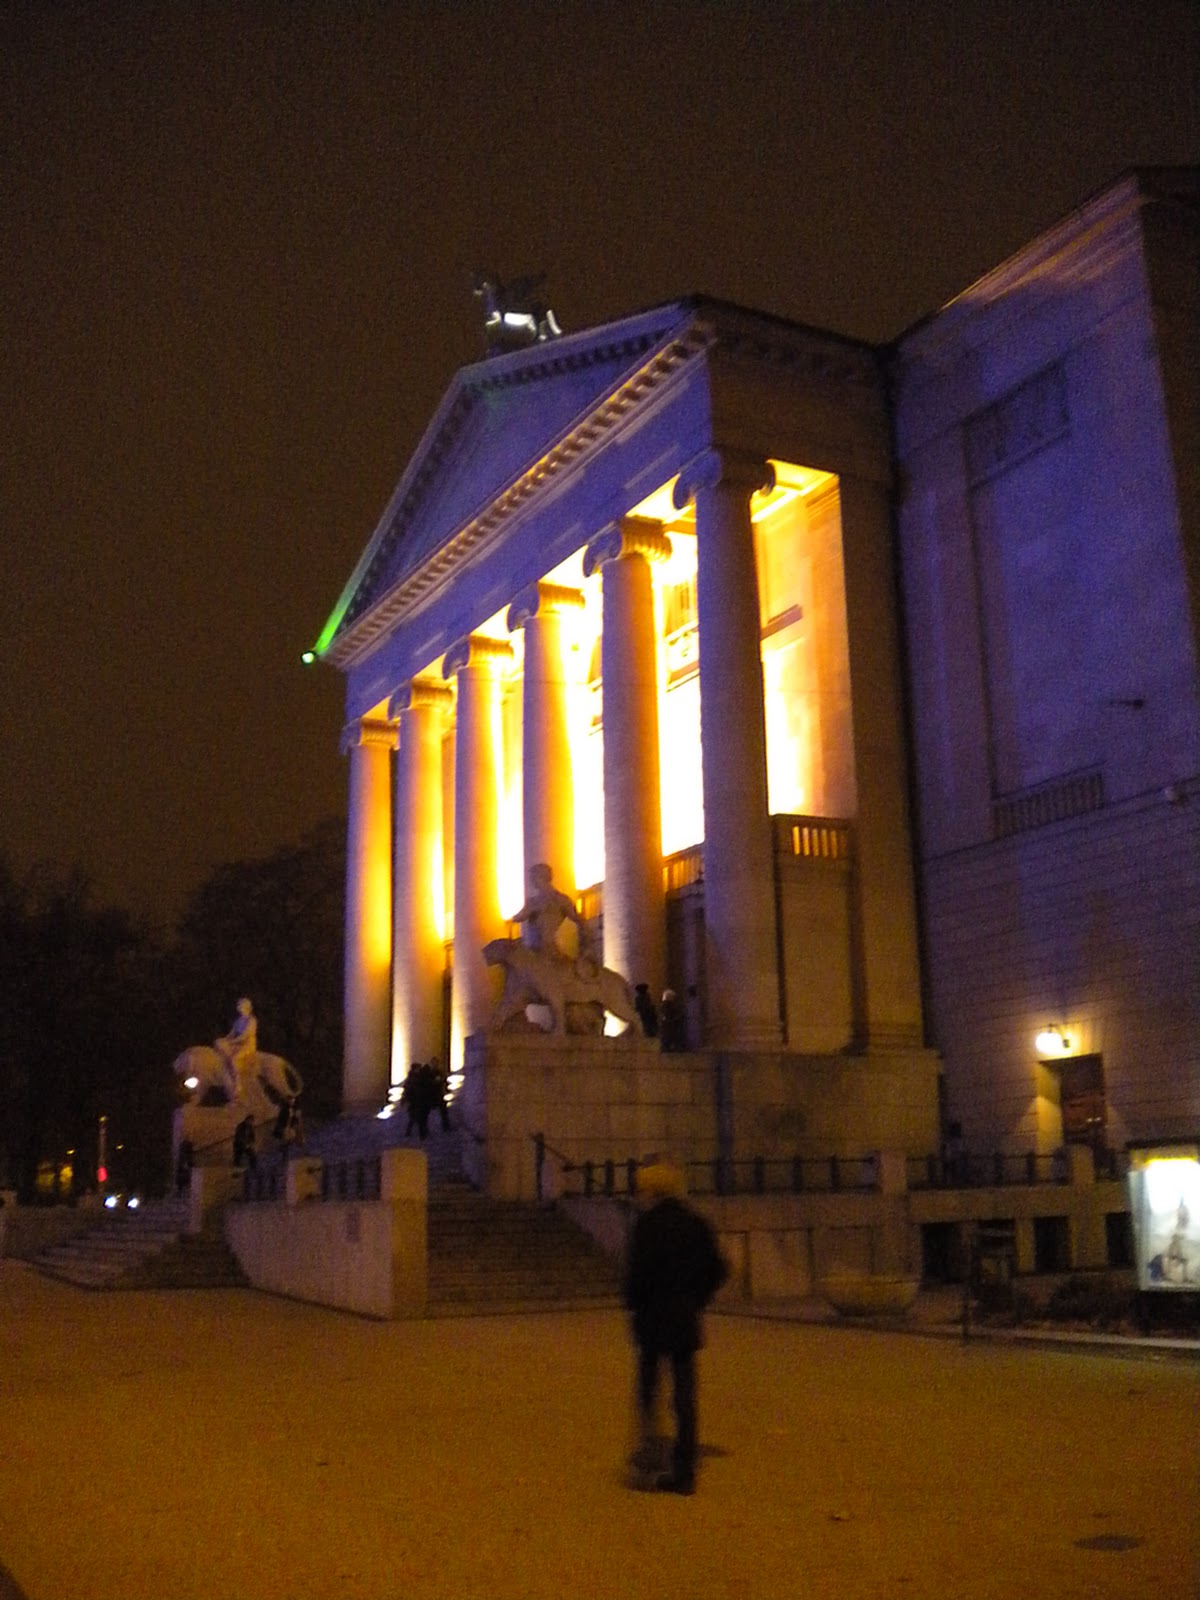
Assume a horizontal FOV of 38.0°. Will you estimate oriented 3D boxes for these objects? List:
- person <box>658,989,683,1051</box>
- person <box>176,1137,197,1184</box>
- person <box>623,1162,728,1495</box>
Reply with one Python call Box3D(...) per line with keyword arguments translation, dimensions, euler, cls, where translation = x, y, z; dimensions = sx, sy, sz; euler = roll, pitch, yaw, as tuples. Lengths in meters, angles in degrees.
Box3D(translation=(1.337, 4.148, 32.707), dimensions=(0.480, 1.142, 1.370), euler=(-2, -12, 2), cls="person")
Box3D(translation=(-8.936, 7.846, 37.346), dimensions=(0.369, 1.002, 1.355), euler=(2, -13, -13), cls="person")
Box3D(translation=(0.395, 2.780, 9.281), dimensions=(0.528, 1.629, 0.930), euler=(-1, -12, 0), cls="person")
